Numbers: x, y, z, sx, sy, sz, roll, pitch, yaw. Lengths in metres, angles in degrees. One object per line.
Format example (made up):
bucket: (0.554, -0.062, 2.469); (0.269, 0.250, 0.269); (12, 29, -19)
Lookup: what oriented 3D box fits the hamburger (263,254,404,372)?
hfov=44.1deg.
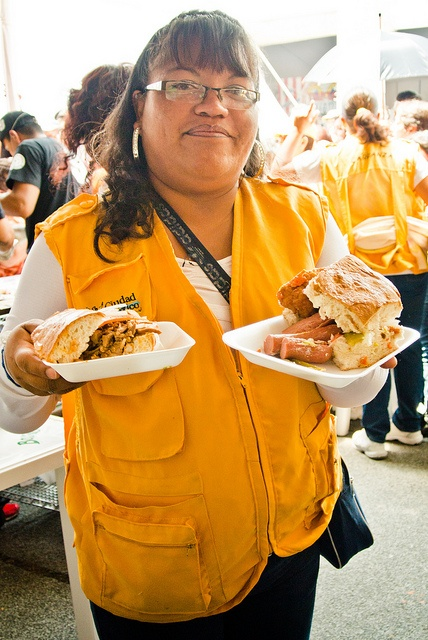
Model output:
hamburger: (0.223, -0.028, 1.143); (0.276, 0.235, 0.254); (-1, 13, -30)

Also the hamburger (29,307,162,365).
hamburger: (-0.253, 0.028, 1.043); (0.261, 0.075, 0.216); (-9, 8, -10)

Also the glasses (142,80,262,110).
glasses: (-0.019, -0.484, 1.146); (0.247, 0.066, 0.079); (-5, 10, -9)

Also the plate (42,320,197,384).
plate: (-0.169, 0.068, 0.966); (0.260, 0.086, 0.149); (-8, 10, -26)
